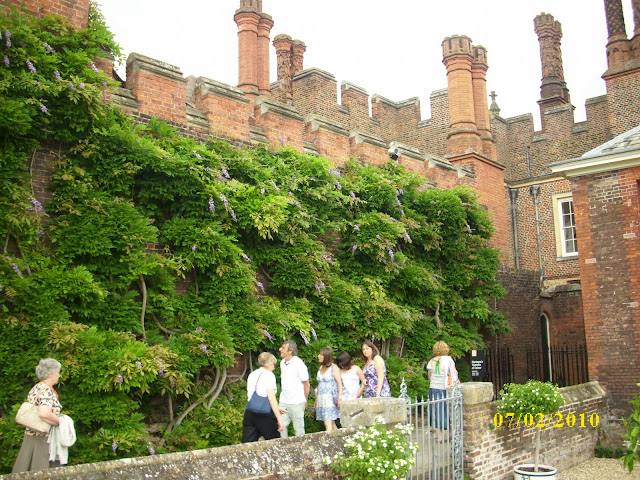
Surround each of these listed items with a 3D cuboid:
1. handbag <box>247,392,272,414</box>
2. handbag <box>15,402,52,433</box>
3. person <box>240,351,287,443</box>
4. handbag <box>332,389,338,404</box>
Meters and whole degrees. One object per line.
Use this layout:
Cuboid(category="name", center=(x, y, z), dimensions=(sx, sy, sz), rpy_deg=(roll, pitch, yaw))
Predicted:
Cuboid(category="handbag", center=(-0.907, 2.488, 10.449), dimensions=(0.292, 0.302, 0.155), rpy_deg=(0, -25, 18))
Cuboid(category="handbag", center=(-3.939, 2.443, 9.479), dimensions=(0.449, 0.413, 0.207), rpy_deg=(6, -19, -18))
Cuboid(category="person", center=(-0.888, 2.407, 10.596), dimensions=(0.577, 1.344, 0.399), rpy_deg=(1, -18, -5))
Cuboid(category="handbag", center=(0.262, 2.724, 11.846), dimensions=(0.055, 0.191, 0.137), rpy_deg=(0, 2, -8))
